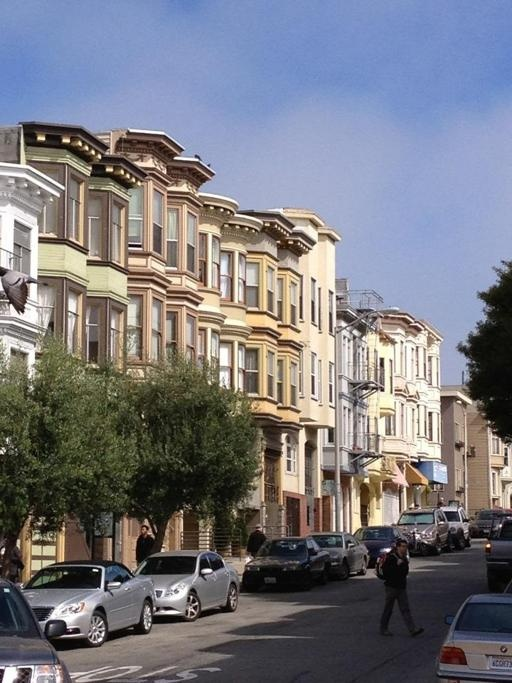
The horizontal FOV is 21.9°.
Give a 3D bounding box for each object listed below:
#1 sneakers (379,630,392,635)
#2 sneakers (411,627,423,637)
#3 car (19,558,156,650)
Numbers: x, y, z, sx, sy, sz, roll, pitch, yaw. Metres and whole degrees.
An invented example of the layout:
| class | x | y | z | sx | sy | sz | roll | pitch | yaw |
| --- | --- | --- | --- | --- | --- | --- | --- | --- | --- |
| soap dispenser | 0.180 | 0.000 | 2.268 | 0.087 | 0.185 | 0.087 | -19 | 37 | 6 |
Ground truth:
| class | x | y | z | sx | sy | sz | roll | pitch | yaw |
| --- | --- | --- | --- | --- | --- | --- | --- | --- | --- |
| sneakers | 1.987 | 4.483 | 20.409 | 0.175 | 0.069 | 0.224 | -1 | -12 | 6 |
| sneakers | 2.475 | 4.442 | 20.315 | 0.144 | 0.129 | 0.373 | -5 | -13 | 27 |
| car | -2.598 | 3.955 | 20.216 | 1.191 | 0.934 | 2.485 | -4 | -17 | 13 |
